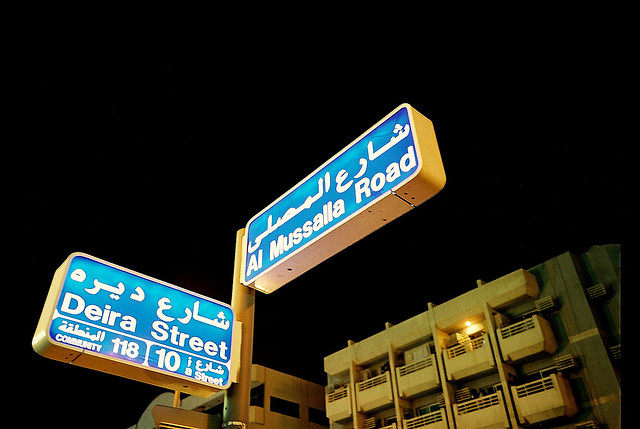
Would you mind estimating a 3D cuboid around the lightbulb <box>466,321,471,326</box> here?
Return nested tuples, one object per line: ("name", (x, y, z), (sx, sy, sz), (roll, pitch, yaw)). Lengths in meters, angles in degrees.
("lightbulb", (9.340, 6.909, 33.490), (0.259, 0.156, 0.408), (-5, -41, 8))
